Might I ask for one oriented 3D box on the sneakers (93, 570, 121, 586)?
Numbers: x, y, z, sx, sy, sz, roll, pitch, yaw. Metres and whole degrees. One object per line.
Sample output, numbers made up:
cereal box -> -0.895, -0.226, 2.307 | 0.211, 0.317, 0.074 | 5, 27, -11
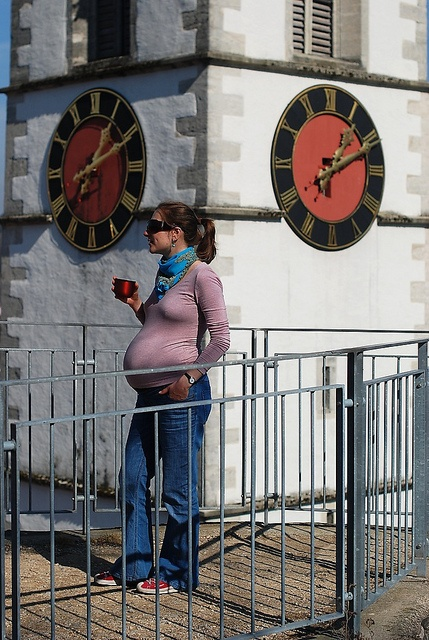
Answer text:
sneakers -> -0.667, 1.554, 11.032 | 0.152, 0.078, 0.071 | 9, -9, 20

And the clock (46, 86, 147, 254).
clock -> -0.981, -1.177, 14.530 | 0.052, 1.239, 1.071 | 11, 12, 43

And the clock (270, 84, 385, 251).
clock -> 0.875, -1.202, 14.408 | 0.246, 1.250, 1.235 | -4, -9, 41

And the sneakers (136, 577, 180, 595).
sneakers -> -0.359, 1.583, 10.941 | 0.233, 0.120, 0.112 | 11, -10, 7

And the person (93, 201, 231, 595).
person -> -0.294, 0.448, 10.906 | 0.887, 2.330, 0.559 | -4, -9, 43
